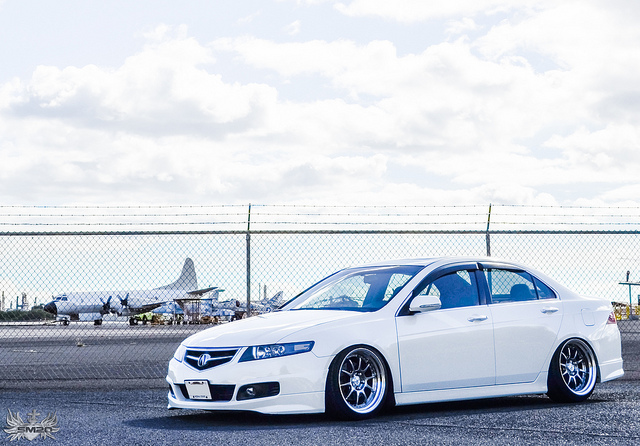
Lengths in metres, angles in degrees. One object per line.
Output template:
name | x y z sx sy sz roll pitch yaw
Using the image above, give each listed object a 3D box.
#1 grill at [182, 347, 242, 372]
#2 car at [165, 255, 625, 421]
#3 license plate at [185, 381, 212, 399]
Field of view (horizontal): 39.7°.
grill | -1.399 1.720 11.259 0.833 0.319 0.243 -2 -4 36
car | 1.053 1.688 12.254 5.800 1.878 2.690 6 -14 -27
license plate | -1.538 2.101 11.191 0.387 0.222 0.070 -2 -4 34
